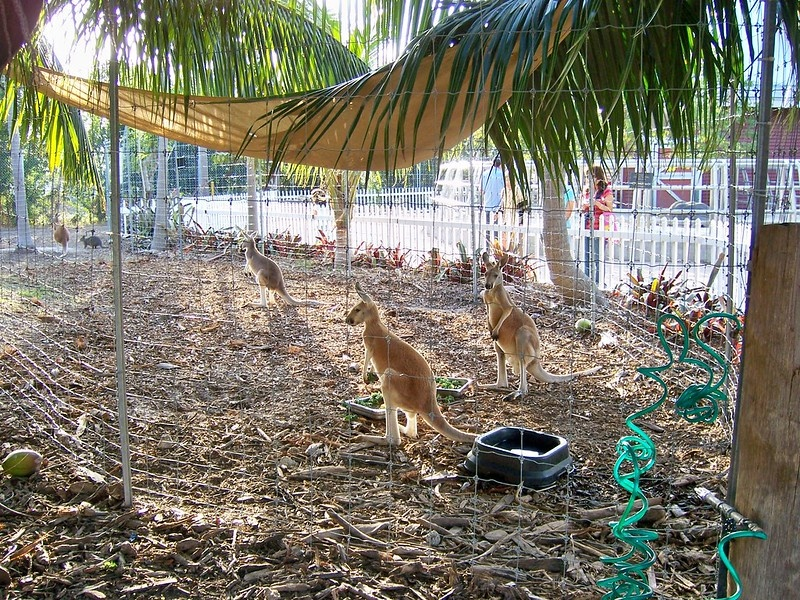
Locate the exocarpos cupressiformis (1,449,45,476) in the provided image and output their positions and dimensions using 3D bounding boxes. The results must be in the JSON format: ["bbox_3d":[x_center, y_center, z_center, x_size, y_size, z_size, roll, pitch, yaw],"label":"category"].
[{"bbox_3d":[-2.218,0.952,4.789,0.130,0.150,0.186,18,-8,26],"label":"exocarpos cupressiformis"}]

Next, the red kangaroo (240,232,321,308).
[{"bbox_3d":[-1.282,-0.294,8.650,1.016,0.770,0.313,11,2,7],"label":"red kangaroo"}]

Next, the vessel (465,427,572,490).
[{"bbox_3d":[0.692,0.873,4.752,0.582,0.301,0.437,-5,12,-17],"label":"vessel"}]

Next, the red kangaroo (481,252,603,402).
[{"bbox_3d":[1.002,0.157,6.097,1.053,1.026,0.383,0,0,-25],"label":"red kangaroo"}]
